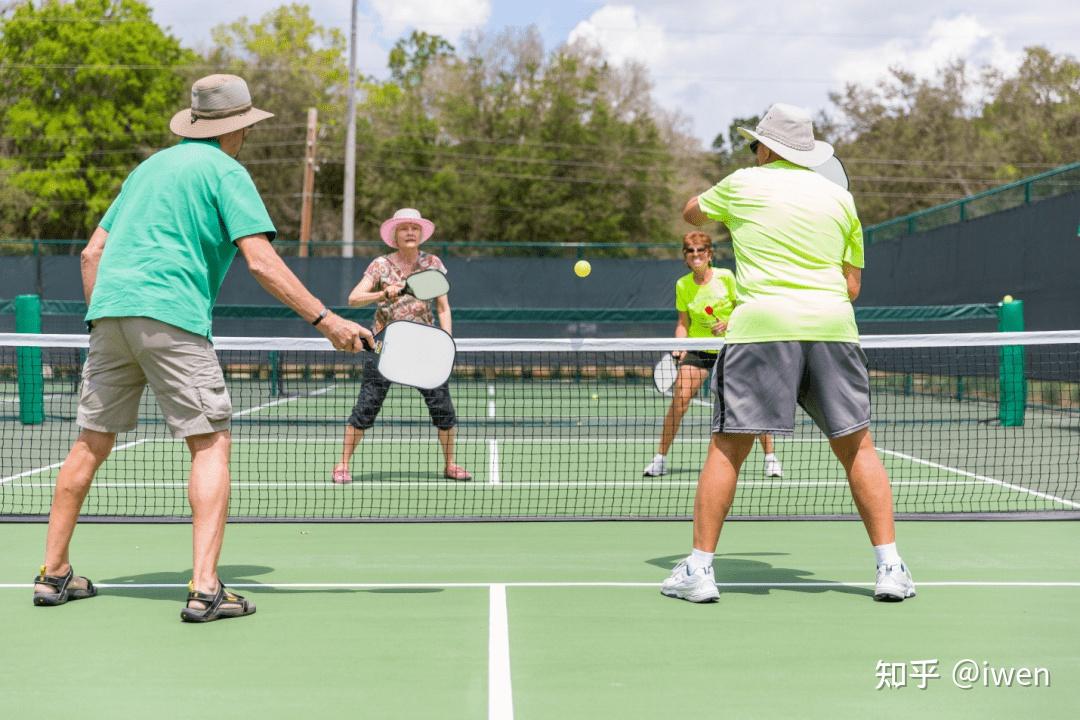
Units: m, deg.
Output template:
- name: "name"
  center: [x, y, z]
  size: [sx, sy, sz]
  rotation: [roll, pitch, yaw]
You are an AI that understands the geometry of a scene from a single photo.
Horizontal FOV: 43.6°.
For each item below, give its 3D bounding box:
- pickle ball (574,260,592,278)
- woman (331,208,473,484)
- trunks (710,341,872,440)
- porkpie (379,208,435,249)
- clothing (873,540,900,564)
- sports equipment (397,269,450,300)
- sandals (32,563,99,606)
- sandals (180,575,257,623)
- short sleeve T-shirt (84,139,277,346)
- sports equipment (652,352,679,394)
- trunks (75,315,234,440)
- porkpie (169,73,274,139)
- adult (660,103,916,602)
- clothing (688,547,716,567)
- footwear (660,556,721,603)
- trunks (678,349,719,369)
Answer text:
- name: "pickle ball"
  center: [0.618, -1.403, 20.660]
  size: [0.282, 0.270, 0.055]
  rotation: [0, 2, -9]
- name: "woman"
  center: [-1.164, -0.132, 11.374]
  size: [1.298, 2.326, 1.183]
  rotation: [0, 14, -7]
- name: "trunks"
  center: [1.611, 0.183, 8.689]
  size: [0.999, 0.628, 0.331]
  rotation: [1, 12, 4]
- name: "porkpie"
  center: [-1.144, -1.219, 11.644]
  size: [0.472, 0.447, 0.135]
  rotation: [9, 36, -10]
- name: "clothing"
  center: [2.272, 1.253, 8.820]
  size: [0.130, 0.152, 0.160]
  rotation: [-3, -1, -1]
- name: "sports equipment"
  center: [-0.844, -0.556, 10.073]
  size: [0.285, 0.273, 0.436]
  rotation: [3, 12, 12]
- name: "sandals"
  center: [-3.068, 1.463, 8.766]
  size: [0.173, 0.207, 0.471]
  rotation: [-1, 1, 25]
- name: "sandals"
  center: [-2.038, 1.519, 8.545]
  size: [0.459, 0.212, 0.204]
  rotation: [-1, 2, -38]
- name: "short sleeve T-shirt"
  center: [-2.383, -0.822, 8.749]
  size: [1.384, 1.322, 0.714]
  rotation: [6, -7, 32]
- name: "sports equipment"
  center: [1.148, 0.124, 12.175]
  size: [0.226, 0.327, 0.058]
  rotation: [1, -7, 25]
- name: "trunks"
  center: [-2.509, 0.073, 8.677]
  size: [1.230, 0.813, 0.498]
  rotation: [1, 8, 24]
- name: "porkpie"
  center: [-2.061, -1.670, 8.734]
  size: [0.707, 0.363, 0.674]
  rotation: [-10, 32, -17]
- name: "adult"
  center: [1.550, -0.078, 9.240]
  size: [1.815, 3.347, 1.367]
  rotation: [1, -4, -4]
- name: "clothing"
  center: [1.025, 1.279, 8.719]
  size: [0.097, 0.155, 0.158]
  rotation: [13, -15, -1]
- name: "footwear"
  center: [0.973, 1.443, 8.761]
  size: [0.192, 0.216, 0.479]
  rotation: [2, -2, -18]
- name: "trunks"
  center: [1.337, -0.020, 11.742]
  size: [0.256, 0.169, 0.063]
  rotation: [1, -7, 27]
